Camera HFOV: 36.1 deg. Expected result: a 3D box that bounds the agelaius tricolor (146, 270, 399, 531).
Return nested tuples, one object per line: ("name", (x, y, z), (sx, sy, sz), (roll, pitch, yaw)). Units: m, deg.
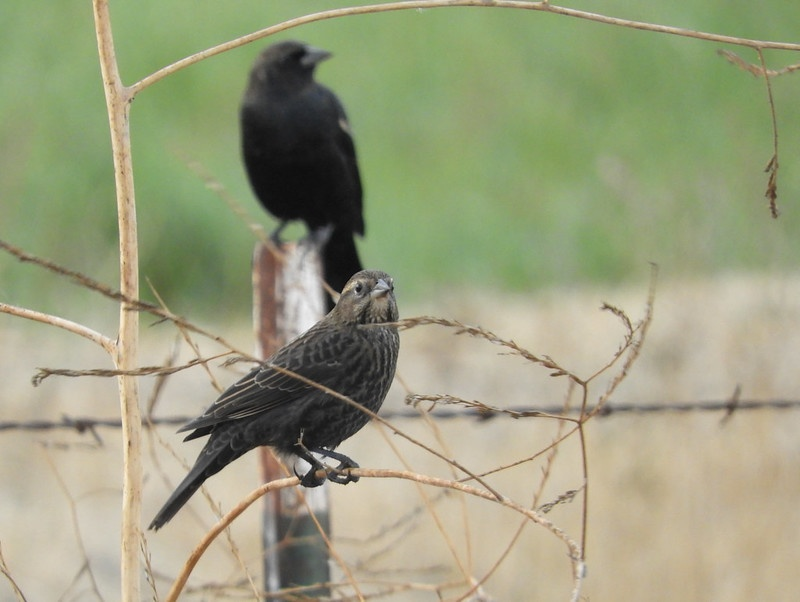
("agelaius tricolor", (-0.535, 0.419, 5.866), (1.332, 0.928, 0.491), (-12, -9, 8))
